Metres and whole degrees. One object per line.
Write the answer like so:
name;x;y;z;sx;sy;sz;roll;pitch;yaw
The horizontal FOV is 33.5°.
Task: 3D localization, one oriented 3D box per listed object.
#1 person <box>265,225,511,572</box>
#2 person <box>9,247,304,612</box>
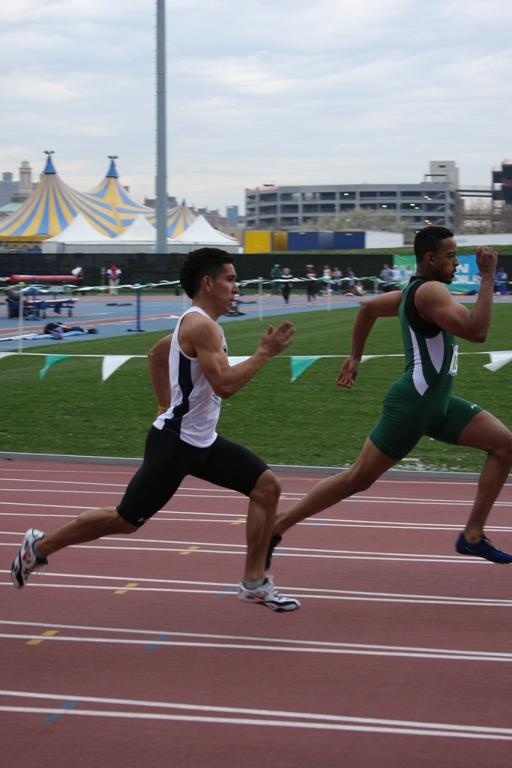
person;0.676;0.051;3.809;0.858;1.504;0.385;2;5;26
person;-0.311;0.194;3.498;1.083;1.490;0.409;2;5;22
